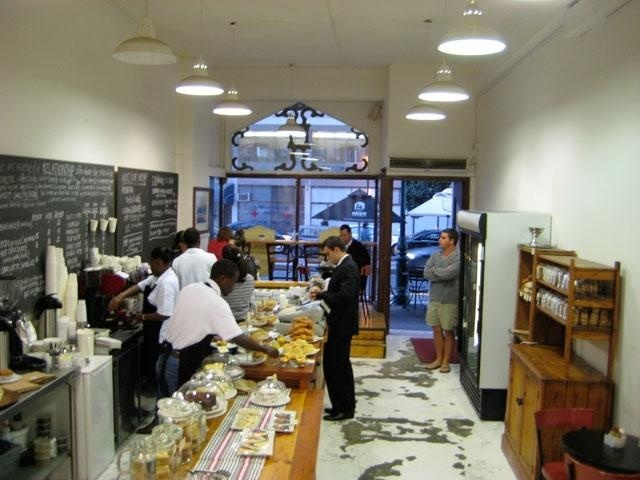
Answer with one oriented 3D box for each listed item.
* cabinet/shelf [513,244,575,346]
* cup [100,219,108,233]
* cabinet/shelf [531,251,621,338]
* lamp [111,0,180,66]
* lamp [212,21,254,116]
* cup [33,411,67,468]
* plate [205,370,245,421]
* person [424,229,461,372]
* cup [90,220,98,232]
[{"bbox_3d":[2.196,0.560,4.866,0.313,0.947,0.975,0,4,1],"label":"cabinet/shelf"},{"bbox_3d":[-2.572,-0.156,5.902,0.114,0.168,0.124,5,1,0],"label":"cup"},{"bbox_3d":[2.225,0.441,4.308,0.235,0.470,0.772,-1,7,-2],"label":"cabinet/shelf"},{"bbox_3d":[-1.456,-1.681,4.150,0.426,0.370,0.496,-3,8,-37],"label":"lamp"},{"bbox_3d":[-1.121,-2.209,6.454,0.496,1.156,0.516,1,4,5],"label":"lamp"},{"bbox_3d":[-2.242,1.640,4.093,0.264,0.341,0.341,1,2,-7],"label":"cup"},{"bbox_3d":[-0.710,1.077,3.560,0.210,0.159,0.218,2,-1,3],"label":"plate"},{"bbox_3d":[1.718,0.866,7.117,0.485,2.014,0.451,2,6,13],"label":"person"},{"bbox_3d":[-2.590,-0.163,5.716,0.105,0.171,0.112,3,-1,0],"label":"cup"}]
